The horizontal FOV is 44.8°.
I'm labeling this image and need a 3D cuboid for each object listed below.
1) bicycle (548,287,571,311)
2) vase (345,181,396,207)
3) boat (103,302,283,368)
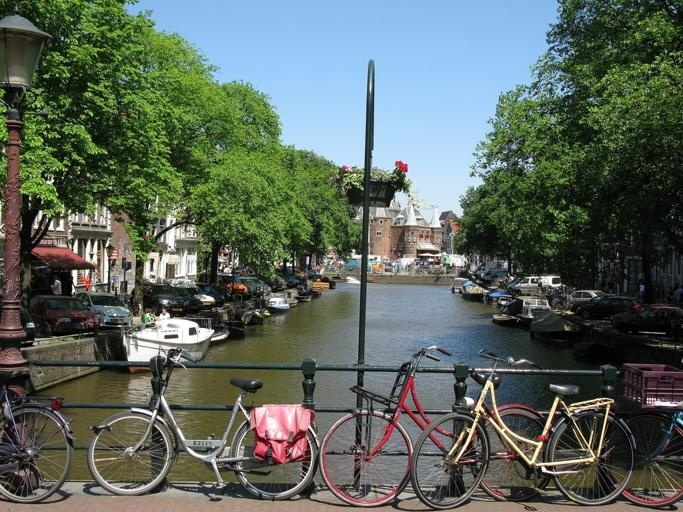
[{"bbox_3d":[13.981,2.730,52.623,1.460,1.264,2.063,1,-3,-6],"label":"bicycle"},{"bbox_3d":[0.490,-1.004,13.408,0.730,0.311,0.826,0,0,-2],"label":"vase"},{"bbox_3d":[-6.125,2.862,29.957,2.520,1.716,6.621,1,-5,13],"label":"boat"}]
